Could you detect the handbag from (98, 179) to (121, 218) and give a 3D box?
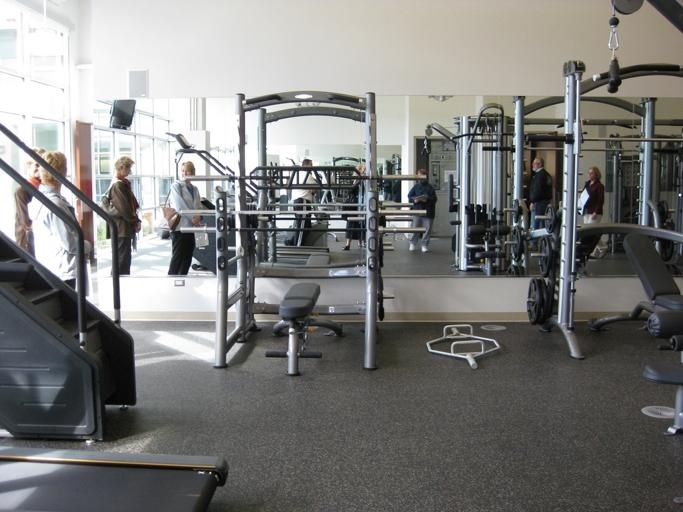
[{"bbox_3d":[-2.597,-0.644,6.454,0.242,0.411,0.137,5,13,27],"label":"handbag"}]

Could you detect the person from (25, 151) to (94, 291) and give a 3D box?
[{"bbox_3d":[-2.394,-0.264,4.962,0.442,1.208,1.433,-6,12,-25],"label":"person"}]

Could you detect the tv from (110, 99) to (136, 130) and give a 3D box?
[{"bbox_3d":[-2.405,-1.550,6.461,0.256,0.423,0.047,15,2,-2],"label":"tv"}]

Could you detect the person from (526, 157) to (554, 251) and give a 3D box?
[{"bbox_3d":[2.244,-0.698,6.592,0.194,0.797,0.198,-7,13,-29],"label":"person"}]

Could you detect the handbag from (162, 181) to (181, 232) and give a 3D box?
[{"bbox_3d":[-1.907,-0.517,6.550,0.182,0.515,0.066,2,11,12],"label":"handbag"}]

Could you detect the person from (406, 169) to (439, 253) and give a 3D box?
[{"bbox_3d":[0.881,-0.464,6.380,0.320,0.944,1.075,1,11,8],"label":"person"}]
